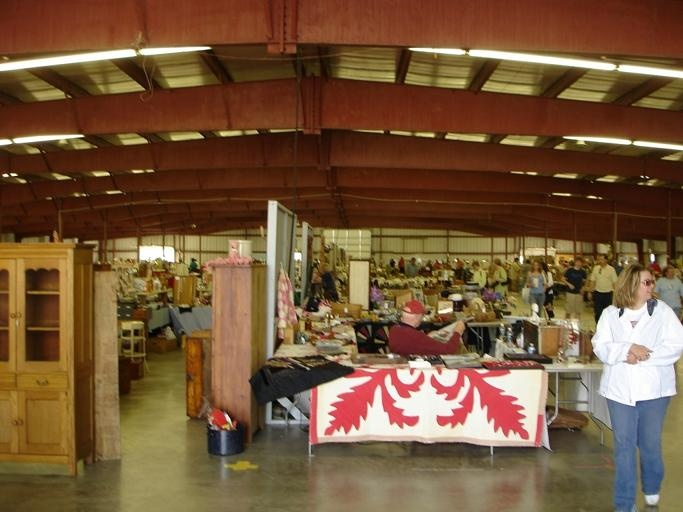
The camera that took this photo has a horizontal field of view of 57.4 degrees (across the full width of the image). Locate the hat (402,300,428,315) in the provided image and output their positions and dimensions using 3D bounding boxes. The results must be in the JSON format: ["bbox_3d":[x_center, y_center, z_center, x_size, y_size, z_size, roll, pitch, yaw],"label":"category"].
[{"bbox_3d":[0.884,0.597,7.347,0.180,0.128,0.248,12,5,27],"label":"hat"}]

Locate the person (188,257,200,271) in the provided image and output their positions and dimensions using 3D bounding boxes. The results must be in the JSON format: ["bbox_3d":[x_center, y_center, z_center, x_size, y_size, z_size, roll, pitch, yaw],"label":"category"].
[{"bbox_3d":[-6.427,0.316,27.063,0.405,0.868,0.614,-1,1,6],"label":"person"}]

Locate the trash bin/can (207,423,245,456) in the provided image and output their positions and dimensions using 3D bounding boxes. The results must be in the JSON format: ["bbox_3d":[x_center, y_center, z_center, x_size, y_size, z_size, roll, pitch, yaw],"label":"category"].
[{"bbox_3d":[-1.224,1.909,6.562,0.316,0.228,0.317,1,-6,-8],"label":"trash bin/can"}]
